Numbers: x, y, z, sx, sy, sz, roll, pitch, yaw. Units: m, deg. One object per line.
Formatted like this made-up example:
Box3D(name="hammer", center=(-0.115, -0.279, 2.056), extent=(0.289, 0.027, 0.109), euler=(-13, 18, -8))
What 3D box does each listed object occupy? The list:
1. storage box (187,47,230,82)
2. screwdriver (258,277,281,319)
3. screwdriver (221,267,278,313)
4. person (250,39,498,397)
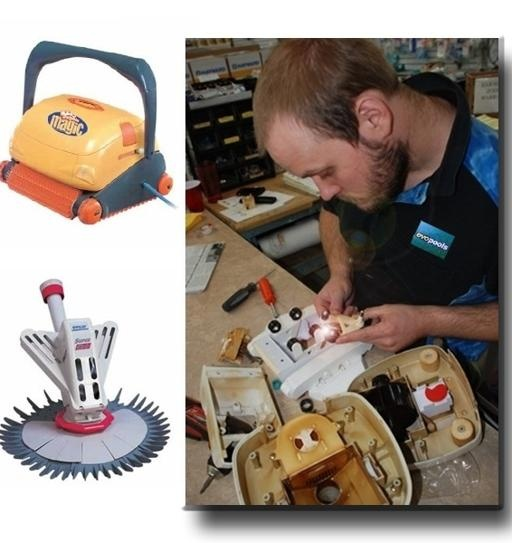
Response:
Box3D(name="storage box", center=(-0.168, -0.706, 1.667), extent=(0.134, 0.107, 0.041), euler=(-8, 24, -3))
Box3D(name="screwdriver", center=(0.049, 0.094, 1.698), extent=(0.054, 0.153, 0.046), euler=(-26, -10, -1))
Box3D(name="screwdriver", center=(0.051, 0.091, 1.677), extent=(0.058, 0.042, 0.151), euler=(-4, 57, -21))
Box3D(name="person", center=(0.401, -0.162, 1.822), extent=(1.006, 1.130, 0.819), euler=(7, 34, -16))
